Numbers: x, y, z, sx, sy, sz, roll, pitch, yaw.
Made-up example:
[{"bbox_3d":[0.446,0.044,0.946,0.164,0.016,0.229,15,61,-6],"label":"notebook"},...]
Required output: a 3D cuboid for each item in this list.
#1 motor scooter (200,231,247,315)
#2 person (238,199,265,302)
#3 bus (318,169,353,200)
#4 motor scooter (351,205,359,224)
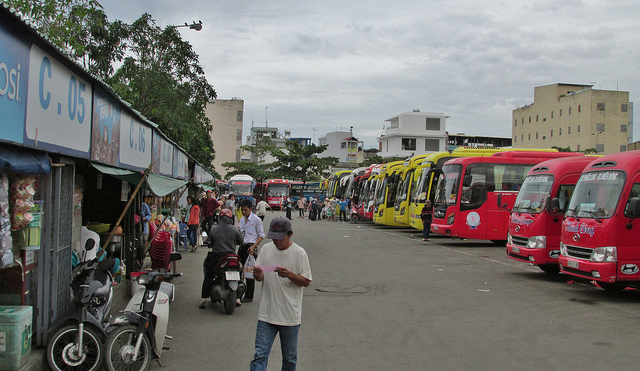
[{"bbox_3d":[-2.240,2.148,11.995,1.108,1.732,0.767,2,0,34],"label":"motor scooter"},{"bbox_3d":[-1.938,1.655,12.604,0.655,2.573,0.773,2,0,39],"label":"person"},{"bbox_3d":[1.882,-0.241,51.982,2.064,2.229,5.147,1,5,-6],"label":"bus"},{"bbox_3d":[2.866,2.270,40.044,0.617,1.445,1.266,2,0,3],"label":"motor scooter"}]
